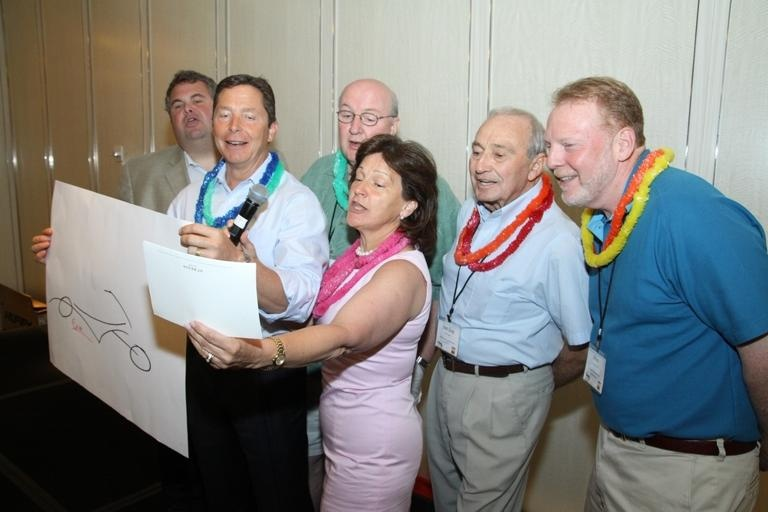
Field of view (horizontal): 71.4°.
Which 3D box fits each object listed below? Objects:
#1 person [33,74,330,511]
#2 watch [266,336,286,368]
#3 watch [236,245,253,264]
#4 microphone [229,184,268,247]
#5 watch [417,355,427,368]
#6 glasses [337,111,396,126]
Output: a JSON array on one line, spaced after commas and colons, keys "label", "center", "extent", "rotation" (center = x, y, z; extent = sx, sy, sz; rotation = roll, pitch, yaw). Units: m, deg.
[{"label": "person", "center": [-0.536, 0.177, 2.277], "extent": [0.628, 1.766, 0.860], "rotation": [-5, 18, -15]}, {"label": "watch", "center": [-0.349, 0.313, 1.756], "extent": [0.048, 0.097, 0.056], "rotation": [-8, 19, -22]}, {"label": "watch", "center": [-0.501, 0.001, 1.939], "extent": [0.026, 0.071, 0.051], "rotation": [-33, 3, -13]}, {"label": "microphone", "center": [-0.495, -0.139, 1.914], "extent": [0.129, 0.257, 0.231], "rotation": [-8, 19, -22]}, {"label": "watch", "center": [0.210, 0.578, 2.926], "extent": [0.047, 0.059, 0.043], "rotation": [-19, -20, 17]}, {"label": "glasses", "center": [-0.091, -0.772, 3.026], "extent": [0.328, 0.086, 0.142], "rotation": [-1, 19, -2]}]
